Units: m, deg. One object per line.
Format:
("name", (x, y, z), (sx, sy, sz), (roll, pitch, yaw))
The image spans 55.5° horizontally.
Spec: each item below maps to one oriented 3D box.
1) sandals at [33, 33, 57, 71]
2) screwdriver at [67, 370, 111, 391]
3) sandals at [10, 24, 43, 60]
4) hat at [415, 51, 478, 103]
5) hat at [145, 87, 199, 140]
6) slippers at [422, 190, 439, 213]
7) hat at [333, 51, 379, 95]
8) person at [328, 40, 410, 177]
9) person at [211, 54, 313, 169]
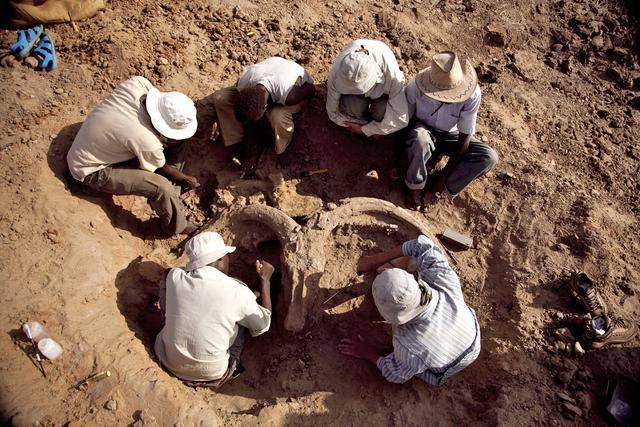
("sandals", (-4.028, -2.323, 9.004), (0.239, 0.249, 0.578), (-10, 87, 22))
("screwdriver", (-2.896, 2.100, 7.661), (0.323, 0.088, 0.083), (-23, 69, -4))
("sandals", (-4.278, -2.512, 8.896), (0.211, 0.288, 0.663), (-4, 59, 48))
("hat", (1.707, -1.926, 8.195), (0.801, 0.398, 0.989), (-8, 39, 7))
("hat", (-2.048, -1.325, 8.289), (0.708, 0.506, 0.586), (17, 71, 0))
("slippers", (1.558, -0.158, 8.732), (0.229, 0.328, 0.082), (-1, 20, -36))
("hat", (0.506, -1.865, 8.146), (0.521, 0.377, 0.441), (-5, 72, -8))
("person", (0.724, -1.606, 8.684), (1.150, 2.063, 1.239), (-43, 67, -10))
("person", (-0.806, -1.477, 8.758), (1.387, 1.030, 1.192), (-19, 75, -12))
